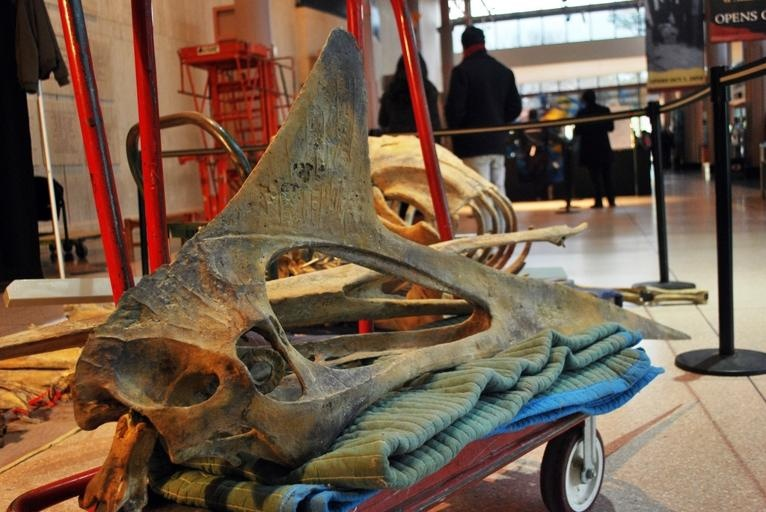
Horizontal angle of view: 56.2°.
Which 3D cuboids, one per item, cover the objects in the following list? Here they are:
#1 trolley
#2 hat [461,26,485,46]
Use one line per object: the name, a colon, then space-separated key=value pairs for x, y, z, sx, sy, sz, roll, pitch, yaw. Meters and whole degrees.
trolley: x=-0.196 y=0.205 z=2.992 sx=2.078 sy=1.864 sz=1.351 roll=-9 pitch=11 yaw=-38
hat: x=0.813 y=-2.013 z=6.615 sx=0.183 sy=0.150 sz=0.172 roll=4 pitch=4 yaw=33
